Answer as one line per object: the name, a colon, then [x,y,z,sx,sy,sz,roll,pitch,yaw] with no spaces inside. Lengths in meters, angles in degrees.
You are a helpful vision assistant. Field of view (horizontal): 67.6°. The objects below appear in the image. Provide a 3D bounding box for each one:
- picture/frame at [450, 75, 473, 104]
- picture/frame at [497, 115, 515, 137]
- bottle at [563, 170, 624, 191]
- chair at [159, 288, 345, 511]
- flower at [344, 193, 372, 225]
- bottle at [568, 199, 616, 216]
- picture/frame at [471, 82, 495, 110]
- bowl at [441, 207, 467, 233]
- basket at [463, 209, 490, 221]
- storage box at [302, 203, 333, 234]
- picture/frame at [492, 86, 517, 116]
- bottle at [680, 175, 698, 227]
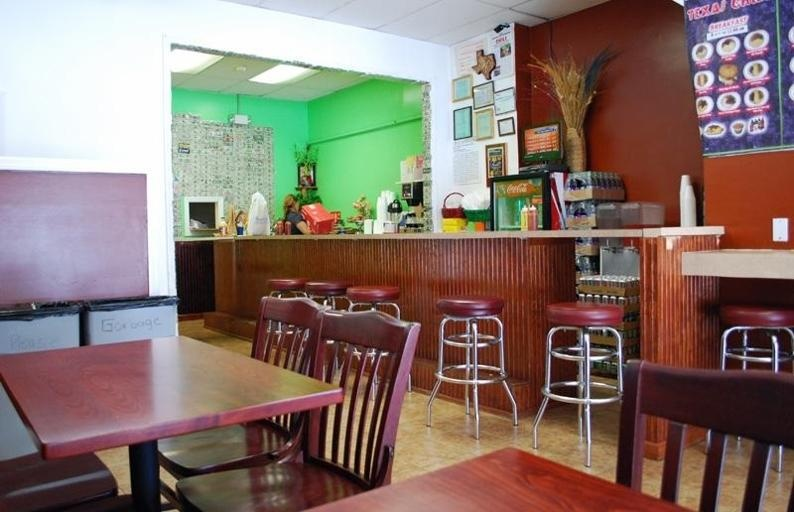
picture/frame: [0.837,-2.135,7.590,0.046,0.425,0.443,6,-3,-44]
picture/frame: [1.328,-1.579,7.180,0.022,0.276,0.285,1,4,-44]
bottle: [2.103,-0.802,6.271,0.262,0.177,0.811,5,9,44]
chair: [-0.866,0.650,3.416,0.999,1.358,0.894,4,3,-37]
flower: [-0.577,-0.777,9.783,0.503,0.654,0.487,-6,9,-34]
bottle: [1.963,-0.499,6.059,0.408,0.155,0.306,-1,6,6]
picture/frame: [1.082,-2.001,7.372,0.040,0.357,0.395,3,0,-42]
bowl: [0.595,-0.386,6.273,0.290,0.305,0.332,-3,4,-44]
basket: [0.840,-0.431,6.179,0.249,0.119,0.110,-1,6,6]
storage box: [-0.964,-0.478,7.570,0.404,0.348,0.827,-3,7,-15]
picture/frame: [1.315,-1.888,7.174,0.059,0.391,0.419,4,-2,-40]
bottle: [2.657,-0.505,5.413,0.107,0.459,0.387,1,7,22]
